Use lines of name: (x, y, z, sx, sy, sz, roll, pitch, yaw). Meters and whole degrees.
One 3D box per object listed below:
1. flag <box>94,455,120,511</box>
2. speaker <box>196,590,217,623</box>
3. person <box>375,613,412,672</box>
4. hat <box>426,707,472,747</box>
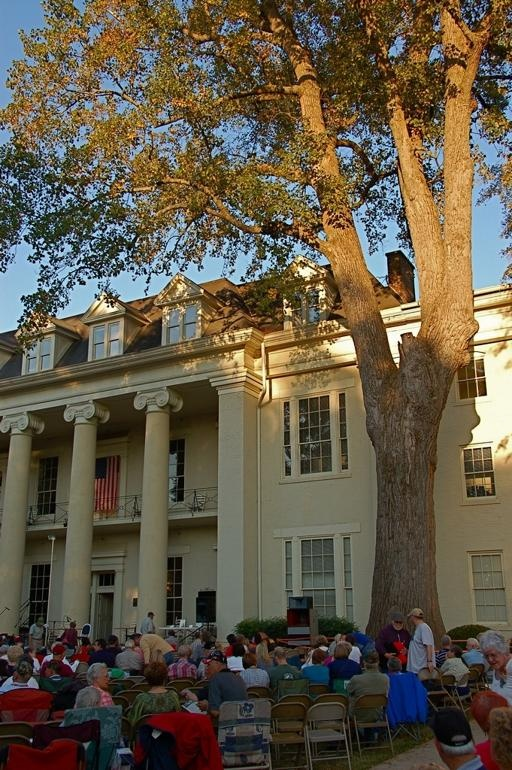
flag: (-5.875, 3.953, 23.241, 1.178, 2.273, 0.341, -14, -22, 34)
speaker: (-1.600, 7.068, 18.840, 0.589, 0.938, 0.955, 0, -18, -6)
person: (2.317, 4.514, 9.870, 0.562, 1.281, 0.459, 8, -21, -4)
hat: (0.607, 1.041, 1.854, 0.094, 0.078, 0.145, -4, 11, -5)
